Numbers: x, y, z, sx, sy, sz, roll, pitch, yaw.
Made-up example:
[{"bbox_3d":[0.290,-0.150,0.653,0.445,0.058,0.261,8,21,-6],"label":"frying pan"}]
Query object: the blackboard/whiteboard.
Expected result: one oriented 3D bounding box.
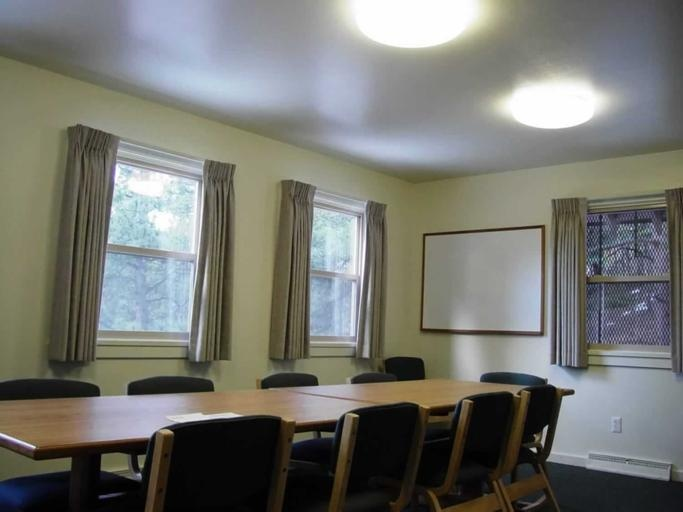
[{"bbox_3d":[1.711,0.301,5.993,1.265,1.149,0.047,-2,-3,39],"label":"blackboard/whiteboard"}]
